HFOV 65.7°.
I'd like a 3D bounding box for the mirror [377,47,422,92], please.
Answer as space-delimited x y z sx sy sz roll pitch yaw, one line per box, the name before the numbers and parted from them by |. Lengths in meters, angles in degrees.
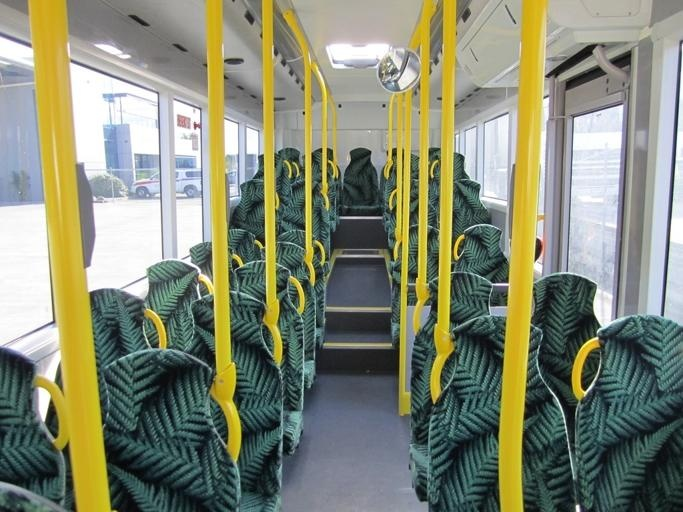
mirror | 0.285 -0.936 2.655 0.200 0.233 0.064 17 26 18
